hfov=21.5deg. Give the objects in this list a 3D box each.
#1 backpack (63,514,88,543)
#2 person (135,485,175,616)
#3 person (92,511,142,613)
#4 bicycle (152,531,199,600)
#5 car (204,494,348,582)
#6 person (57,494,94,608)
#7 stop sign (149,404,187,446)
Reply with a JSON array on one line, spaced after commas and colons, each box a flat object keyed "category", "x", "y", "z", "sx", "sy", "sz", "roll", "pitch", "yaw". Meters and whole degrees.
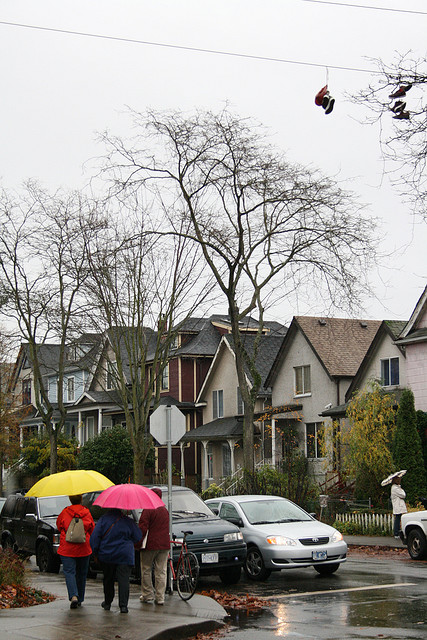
[{"category": "backpack", "x": -1.742, "y": 2.748, "z": 14.570, "sx": 0.276, "sy": 0.485, "sz": 0.241, "roll": 3, "pitch": -22, "yaw": -5}, {"category": "person", "x": -0.760, "y": 3.156, "z": 15.248, "sx": 0.564, "sy": 1.777, "sz": 0.576, "roll": 4, "pitch": -9, "yaw": -22}, {"category": "person", "x": -1.184, "y": 3.018, "z": 14.315, "sx": 0.546, "sy": 1.357, "sz": 0.598, "roll": 6, "pitch": -8, "yaw": -28}, {"category": "bicycle", "x": -0.523, "y": 3.589, "z": 16.135, "sx": 0.486, "sy": 0.748, "sz": 1.115, "roll": 0, "pitch": -12, "yaw": -12}, {"category": "car", "x": 0.780, "y": 3.912, "z": 19.670, "sx": 1.756, "sy": 1.752, "sz": 3.585, "roll": 6, "pitch": -18, "yaw": -32}, {"category": "person", "x": -1.802, "y": 3.005, "z": 14.671, "sx": 0.384, "sy": 1.369, "sz": 0.621, "roll": 1, "pitch": -5, "yaw": -10}, {"category": "stop sign", "x": -0.693, "y": 1.543, "z": 16.776, "sx": 0.345, "sy": 0.628, "sz": 0.500, "roll": 7, "pitch": -14, "yaw": -32}]
